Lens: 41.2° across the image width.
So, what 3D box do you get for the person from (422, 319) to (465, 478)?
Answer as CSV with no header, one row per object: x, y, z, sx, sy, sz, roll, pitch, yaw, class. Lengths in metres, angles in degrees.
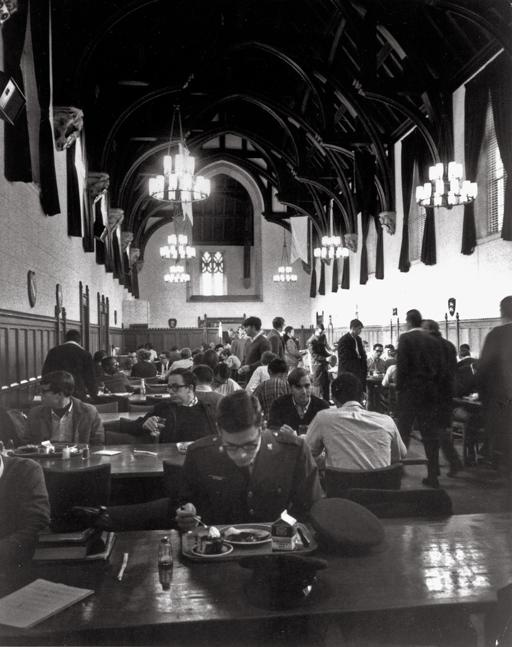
1.703,0.737,6.521,0.254,1.595,0.432,6,-8,-12,person

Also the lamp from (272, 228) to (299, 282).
1.191,-2.815,27.907,0.600,1.845,0.756,0,-3,-7,lamp

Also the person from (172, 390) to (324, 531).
-0.043,0.625,2.978,0.504,0.585,0.986,-4,-31,0,person

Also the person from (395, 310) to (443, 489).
1.555,0.604,6.575,0.298,1.588,0.381,3,16,16,person

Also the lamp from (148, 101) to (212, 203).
-1.416,-3.092,12.263,0.715,2.042,0.915,-2,-10,-2,lamp

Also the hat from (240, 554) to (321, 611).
0.083,0.750,2.025,0.239,0.122,0.157,-5,4,-18,hat

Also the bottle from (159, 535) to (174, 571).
-0.304,0.792,2.340,0.050,0.132,0.063,0,-3,-6,bottle

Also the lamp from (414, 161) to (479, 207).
2.934,-2.156,10.676,0.476,0.667,0.598,1,1,-15,lamp
